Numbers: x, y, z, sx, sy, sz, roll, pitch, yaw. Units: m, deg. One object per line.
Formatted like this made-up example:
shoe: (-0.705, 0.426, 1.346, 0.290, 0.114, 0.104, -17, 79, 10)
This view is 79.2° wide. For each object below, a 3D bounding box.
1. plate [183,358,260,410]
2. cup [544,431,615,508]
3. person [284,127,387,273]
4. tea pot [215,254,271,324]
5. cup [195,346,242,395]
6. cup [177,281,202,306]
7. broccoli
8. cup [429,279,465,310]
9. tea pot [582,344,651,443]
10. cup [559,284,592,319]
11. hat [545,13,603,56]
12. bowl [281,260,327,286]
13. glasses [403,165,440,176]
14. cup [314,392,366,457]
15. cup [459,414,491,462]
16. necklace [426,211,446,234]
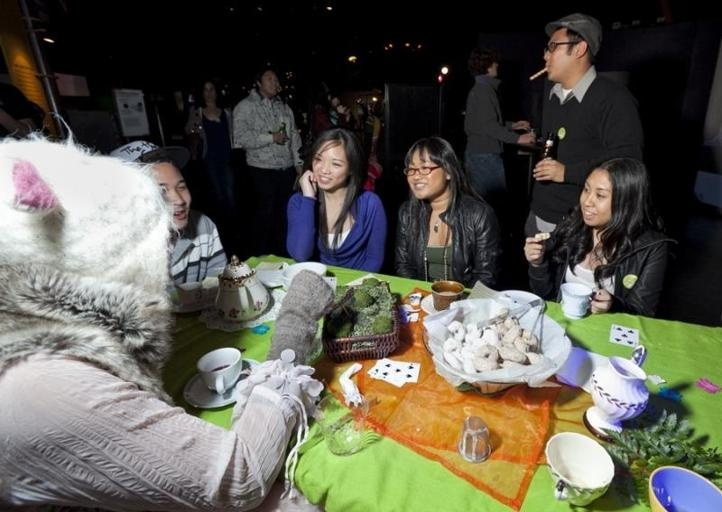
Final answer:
plate: (-0.558, 0.461, 1.670, 0.221, 0.059, 0.223, 7, 27, 18)
cup: (0.673, 0.639, 1.343, 0.226, 0.143, 0.189, -7, 37, -2)
person: (-0.212, -0.245, 3.221, 0.789, 1.281, 0.674, -6, 28, -15)
tea pot: (-0.602, 0.128, 2.129, 0.258, 0.293, 0.339, -9, 18, -15)
cup: (-0.534, 0.463, 1.650, 0.161, 0.113, 0.229, -7, 15, -15)
cup: (-0.858, 0.182, 2.165, 0.108, 0.094, 0.108, -4, 1, 0)
broccoli: (-0.006, 0.223, 1.883, 0.204, 0.078, 0.248, -2, 25, 4)
cup: (0.402, 0.167, 2.034, 0.141, 0.097, 0.130, -1, 30, 0)
tea pot: (0.897, 0.471, 1.500, 0.251, 0.235, 0.156, -16, 23, -37)
cup: (1.004, 0.222, 2.022, 0.151, 0.120, 0.127, 2, 6, 11)
hat: (1.506, -1.569, 3.121, 0.374, 0.295, 0.309, 9, 21, 32)
bowl: (-0.313, 0.054, 2.303, 0.161, 0.047, 0.156, -5, 23, 2)
glasses: (0.368, -0.554, 2.814, 0.288, 0.075, 0.109, 14, 24, 43)
cup: (-0.072, 0.583, 1.512, 0.140, 0.126, 0.170, -14, 28, -4)
cup: (0.389, 0.608, 1.475, 0.115, 0.122, 0.111, 1, 11, 0)
necklace: (0.515, -0.232, 2.941, 0.136, 0.132, 0.054, 1, -1, 34)
